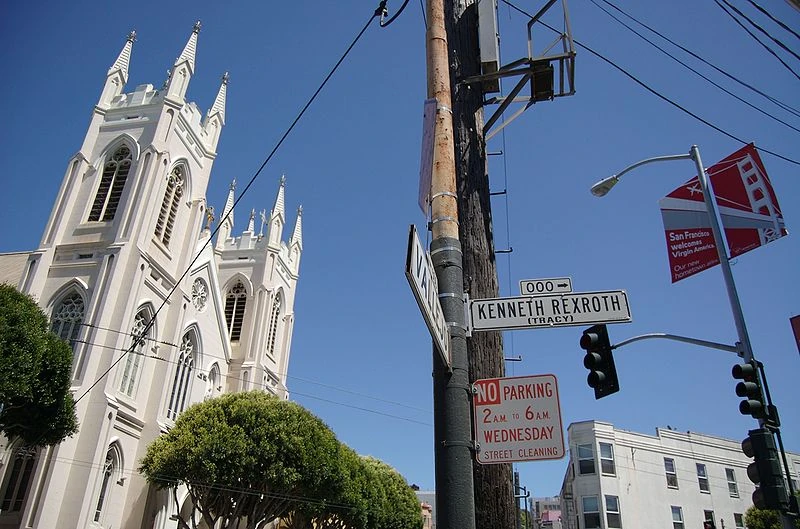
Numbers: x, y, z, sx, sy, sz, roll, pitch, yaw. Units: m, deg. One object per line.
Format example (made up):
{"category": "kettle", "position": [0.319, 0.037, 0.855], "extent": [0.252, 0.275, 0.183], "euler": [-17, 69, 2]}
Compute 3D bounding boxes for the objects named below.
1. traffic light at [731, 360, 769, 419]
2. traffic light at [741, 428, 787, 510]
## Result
{"category": "traffic light", "position": [10.472, 3.718, 17.619], "extent": [0.684, 1.687, 1.040], "euler": [-14, -31, 29]}
{"category": "traffic light", "position": [10.567, 5.964, 17.051], "extent": [0.922, 2.188, 1.028], "euler": [-14, -31, 28]}
